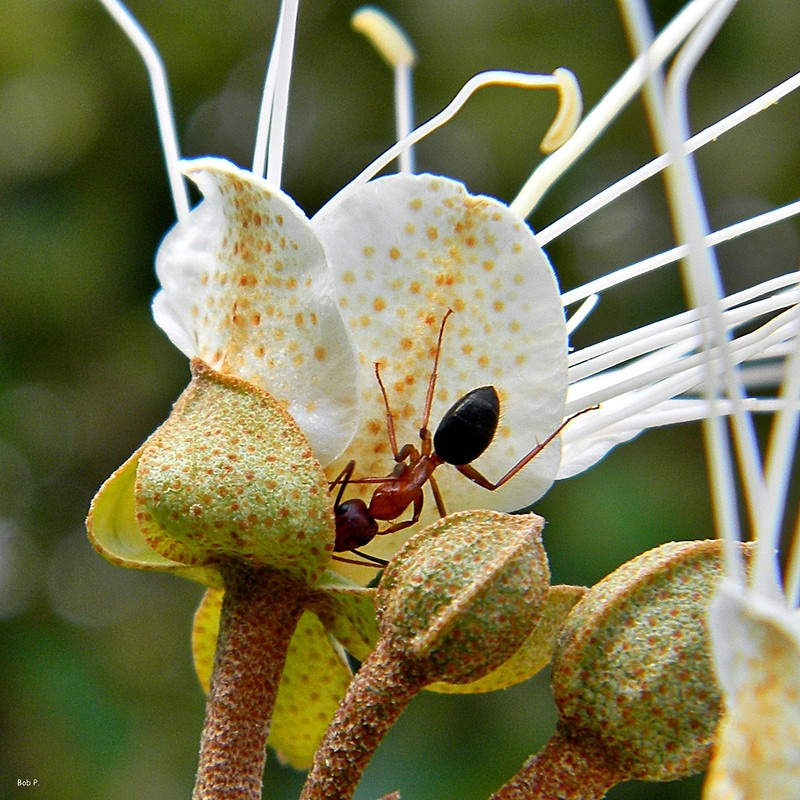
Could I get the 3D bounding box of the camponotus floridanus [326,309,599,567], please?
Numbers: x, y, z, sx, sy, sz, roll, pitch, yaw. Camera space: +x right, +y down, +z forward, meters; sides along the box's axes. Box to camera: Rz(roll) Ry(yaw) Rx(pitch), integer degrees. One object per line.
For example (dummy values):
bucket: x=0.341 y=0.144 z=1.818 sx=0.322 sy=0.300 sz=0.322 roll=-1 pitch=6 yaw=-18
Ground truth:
camponotus floridanus: x=0.033 y=0.103 z=1.911 sx=0.381 sy=0.249 sz=0.113 roll=-42 pitch=-65 yaw=14
